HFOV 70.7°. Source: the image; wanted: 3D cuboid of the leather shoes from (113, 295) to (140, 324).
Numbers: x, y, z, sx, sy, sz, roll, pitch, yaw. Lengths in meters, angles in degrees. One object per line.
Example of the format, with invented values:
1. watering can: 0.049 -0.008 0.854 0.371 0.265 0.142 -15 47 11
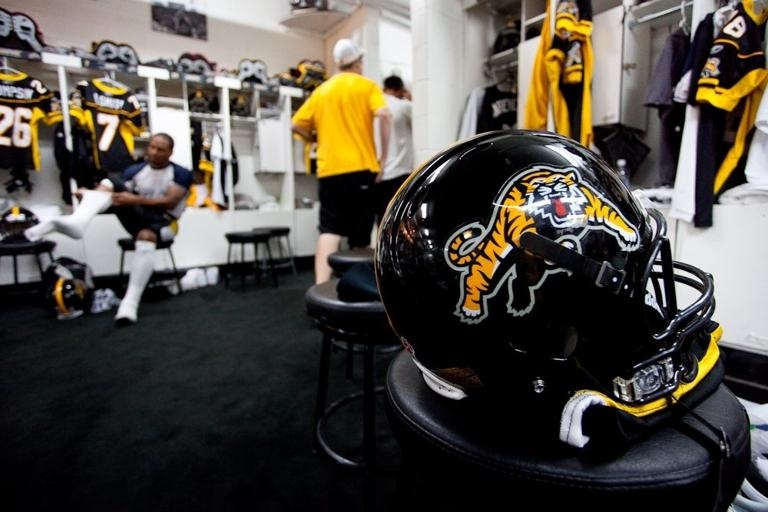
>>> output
1. leather shoes: -1.611 0.333 3.433 0.088 0.102 0.258 4 14 -6

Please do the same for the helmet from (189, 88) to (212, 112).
1. helmet: -1.819 -1.506 5.338 0.187 0.250 0.112 -6 28 -2

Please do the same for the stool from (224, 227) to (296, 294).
1. stool: -1.150 0.038 4.899 0.599 0.495 0.592 -1 2 1

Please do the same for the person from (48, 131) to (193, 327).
1. person: -1.821 -0.241 3.833 0.676 1.126 0.972 14 20 21

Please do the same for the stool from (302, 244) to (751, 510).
1. stool: 0.377 0.370 1.567 0.742 0.769 0.734 5 17 22

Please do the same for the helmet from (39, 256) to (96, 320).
1. helmet: -2.101 0.207 3.625 0.310 0.413 0.165 -18 -7 -12
